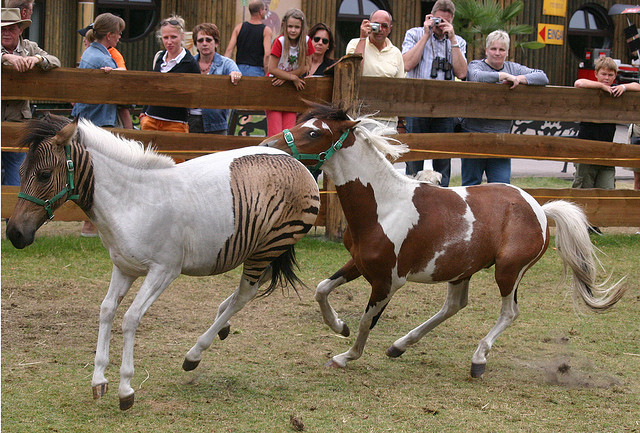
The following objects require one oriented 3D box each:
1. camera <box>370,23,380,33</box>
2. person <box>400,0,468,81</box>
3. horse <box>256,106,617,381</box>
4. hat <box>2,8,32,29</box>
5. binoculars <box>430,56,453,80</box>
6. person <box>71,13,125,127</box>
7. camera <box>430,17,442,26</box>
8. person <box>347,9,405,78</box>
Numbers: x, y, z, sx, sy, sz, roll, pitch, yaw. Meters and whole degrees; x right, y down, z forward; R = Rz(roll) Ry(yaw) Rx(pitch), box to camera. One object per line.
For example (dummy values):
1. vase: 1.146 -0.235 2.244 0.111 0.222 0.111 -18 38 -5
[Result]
1. camera: 0.698 -2.399 12.454 0.161 0.136 0.085 3 29 6
2. person: 1.528 -2.318 12.816 0.865 1.031 0.616 7 10 5
3. horse: 1.151 0.312 10.041 4.300 2.507 0.906 5 4 -18
4. hat: -3.712 -2.445 11.991 0.268 0.224 0.420 6 10 4
5. binoculars: 1.583 -1.930 12.677 0.293 0.267 0.084 4 7 -2
6. person: -2.745 -1.838 12.200 0.549 1.378 0.550 3 11 -13
7. camera: 1.497 -2.516 12.624 0.152 0.103 0.057 12 12 31
8. person: 0.769 -2.236 12.666 0.378 0.820 0.724 15 14 42
